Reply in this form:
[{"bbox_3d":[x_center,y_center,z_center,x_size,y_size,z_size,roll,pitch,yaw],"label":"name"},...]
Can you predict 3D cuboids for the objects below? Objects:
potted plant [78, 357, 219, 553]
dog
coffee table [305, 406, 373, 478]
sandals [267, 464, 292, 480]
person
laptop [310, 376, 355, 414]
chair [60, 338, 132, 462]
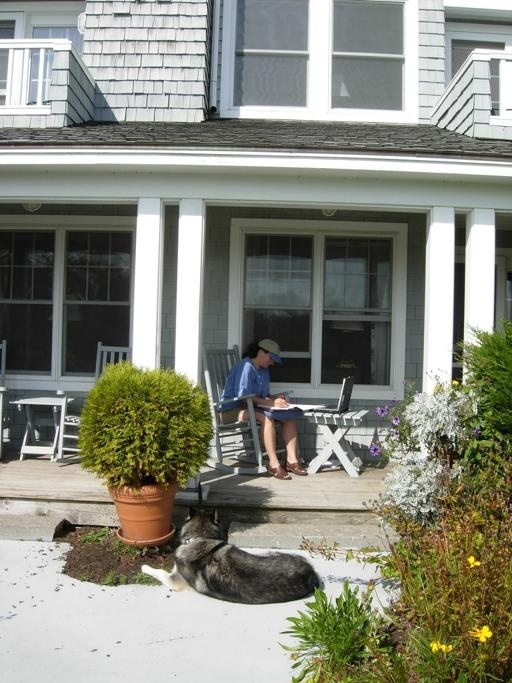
[{"bbox_3d":[-0.671,0.660,4.833,0.958,1.153,0.983,2,3,15],"label":"potted plant"},{"bbox_3d":[-0.096,1.185,4.201,0.703,0.306,0.438,10,-3,34],"label":"dog"},{"bbox_3d":[0.747,0.848,6.506,0.532,0.521,0.526,-1,1,15],"label":"coffee table"},{"bbox_3d":[0.199,1.043,5.982,0.078,0.069,0.187,3,-5,-31],"label":"sandals"},{"bbox_3d":[0.067,0.553,6.354,0.613,1.090,1.006,-6,7,-21],"label":"person"},{"bbox_3d":[0.667,0.465,6.444,0.295,0.336,0.398,3,-1,14],"label":"laptop"},{"bbox_3d":[-1.516,0.551,6.663,0.470,0.805,0.411,-7,4,-3],"label":"chair"}]
